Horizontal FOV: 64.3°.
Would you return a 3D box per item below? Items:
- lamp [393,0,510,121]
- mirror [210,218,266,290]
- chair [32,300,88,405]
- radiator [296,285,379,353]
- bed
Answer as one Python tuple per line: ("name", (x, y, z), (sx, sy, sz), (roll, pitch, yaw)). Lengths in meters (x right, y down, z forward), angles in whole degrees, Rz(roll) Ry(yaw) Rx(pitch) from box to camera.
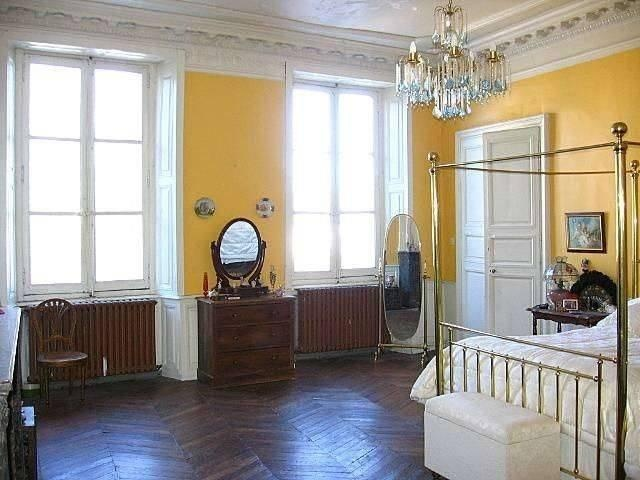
("lamp", (1.470, -1.982, 5.386), (0.994, 1.555, 2.127), (2, 5, 21))
("mirror", (-1.105, 0.191, 6.678), (0.820, 1.112, 0.074), (-1, 1, -31))
("chair", (-2.967, 1.268, 5.814), (0.544, 1.126, 0.765), (-2, 5, -30))
("radiator", (0.202, 1.145, 7.478), (0.907, 0.730, 0.137), (0, 1, -22))
("bed", (1.806, 1.141, 4.161), (1.290, 0.619, 1.314), (3, 9, 40))
